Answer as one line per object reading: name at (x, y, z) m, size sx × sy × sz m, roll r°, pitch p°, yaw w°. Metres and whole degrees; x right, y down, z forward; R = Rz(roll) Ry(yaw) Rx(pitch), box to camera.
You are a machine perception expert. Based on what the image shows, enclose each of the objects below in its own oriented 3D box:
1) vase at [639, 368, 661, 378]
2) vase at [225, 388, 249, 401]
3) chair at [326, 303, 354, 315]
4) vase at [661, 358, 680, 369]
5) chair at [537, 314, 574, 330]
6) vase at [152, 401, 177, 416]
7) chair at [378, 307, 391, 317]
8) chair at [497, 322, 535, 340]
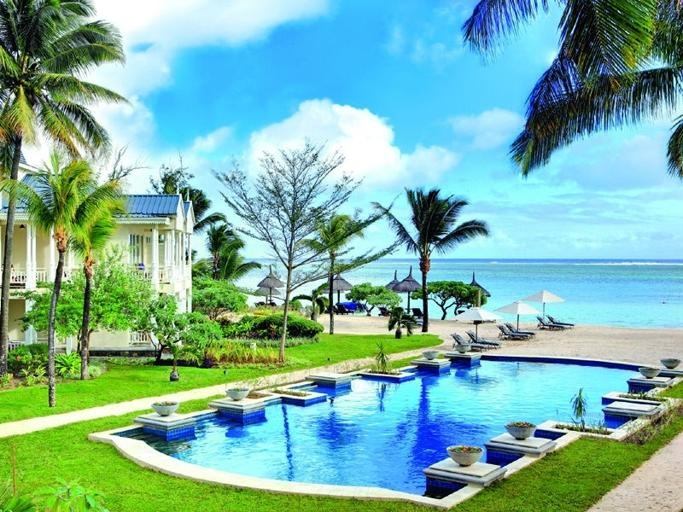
vase at (12.024, 4.534, 23.860) m, size 0.500 × 0.243 × 0.519 m, roll 1°, pitch -2°, yaw 1°
vase at (-3.475, 4.592, 20.250) m, size 0.707 × 0.412 × 0.491 m, roll 1°, pitch -6°, yaw -2°
chair at (0.158, 4.661, 54.536) m, size 1.716 × 1.132 × 2.362 m, roll 1°, pitch -7°, yaw -5°
vase at (13.806, 4.494, 25.411) m, size 0.603 × 0.395 × 1.107 m, roll -4°, pitch -8°, yaw 32°
chair at (14.221, 4.591, 40.625) m, size 1.816 × 0.828 × 1.347 m, roll -3°, pitch 1°, yaw 32°
vase at (-5.262, 4.559, 18.075) m, size 0.724 × 0.442 × 0.549 m, roll 2°, pitch -7°, yaw -9°
chair at (3.783, 4.878, 53.000) m, size 0.792 × 0.828 × 0.715 m, roll 25°, pitch 2°, yaw 36°
chair at (10.345, 4.580, 36.408) m, size 1.364 × 0.659 × 1.037 m, roll -1°, pitch 3°, yaw 23°
